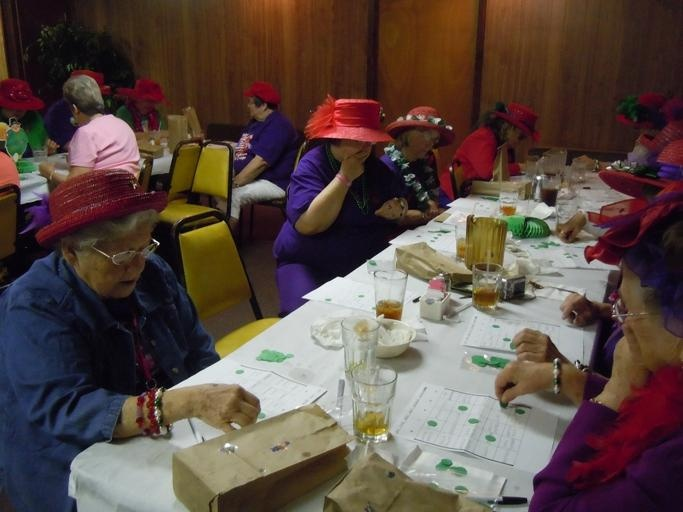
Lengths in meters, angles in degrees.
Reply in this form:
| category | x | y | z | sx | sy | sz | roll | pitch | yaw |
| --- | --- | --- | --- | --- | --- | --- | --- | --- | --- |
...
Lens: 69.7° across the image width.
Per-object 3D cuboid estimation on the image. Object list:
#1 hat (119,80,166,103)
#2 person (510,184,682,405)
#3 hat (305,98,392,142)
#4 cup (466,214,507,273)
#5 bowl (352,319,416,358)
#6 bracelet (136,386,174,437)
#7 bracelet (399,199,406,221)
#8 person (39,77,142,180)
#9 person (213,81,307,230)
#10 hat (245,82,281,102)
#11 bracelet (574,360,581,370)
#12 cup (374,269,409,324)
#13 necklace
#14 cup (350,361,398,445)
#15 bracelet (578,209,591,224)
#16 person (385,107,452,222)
| category | x | y | z | sx | sy | sz | roll | pitch | yaw |
| --- | --- | --- | --- | --- | --- | --- | --- | --- | --- |
| hat | -2.286 | -1.861 | 5.532 | 0.396 | 0.151 | 0.415 | 13 | 21 | 26 |
| person | 0.755 | 0.124 | 1.493 | 0.203 | 0.167 | 0.720 | 16 | 35 | 30 |
| hat | 0.031 | -0.716 | 2.588 | 0.306 | 0.195 | 0.284 | 6 | 18 | 5 |
| cup | 0.610 | -0.064 | 2.080 | 0.216 | 0.250 | 0.175 | -1 | 9 | -19 |
| bowl | 0.163 | 0.252 | 1.524 | 0.107 | 0.052 | 0.116 | -2 | 23 | 1 |
| bracelet | -0.467 | 0.383 | 1.203 | 0.076 | 0.090 | 0.077 | -10 | 24 | -24 |
| bracelet | 0.360 | -0.275 | 2.868 | 0.049 | 0.102 | 0.067 | 4 | 10 | -6 |
| person | -1.931 | -0.944 | 3.685 | 0.685 | 0.772 | 0.410 | -10 | 24 | -23 |
| person | -0.982 | -0.990 | 5.228 | 0.919 | 1.785 | 0.844 | -1 | 12 | -23 |
| hat | -0.835 | -1.732 | 5.179 | 0.306 | 0.168 | 0.258 | 18 | 20 | 0 |
| bracelet | 0.682 | 0.311 | 1.414 | 0.010 | 0.017 | 0.017 | 18 | -3 | -2 |
| cup | 0.166 | 0.137 | 1.677 | 0.135 | 0.237 | 0.143 | 2 | 0 | 0 |
| necklace | -0.031 | -0.441 | 2.587 | 0.111 | 0.369 | 0.263 | 32 | 20 | 25 |
| cup | 0.070 | 0.341 | 1.200 | 0.140 | 0.194 | 0.148 | 0 | 2 | 0 |
| bracelet | 1.317 | -0.213 | 2.670 | 0.050 | 0.066 | 0.069 | -1 | 13 | -6 |
| person | 0.523 | -0.596 | 3.320 | 0.465 | 0.767 | 0.401 | 4 | 4 | -37 |
